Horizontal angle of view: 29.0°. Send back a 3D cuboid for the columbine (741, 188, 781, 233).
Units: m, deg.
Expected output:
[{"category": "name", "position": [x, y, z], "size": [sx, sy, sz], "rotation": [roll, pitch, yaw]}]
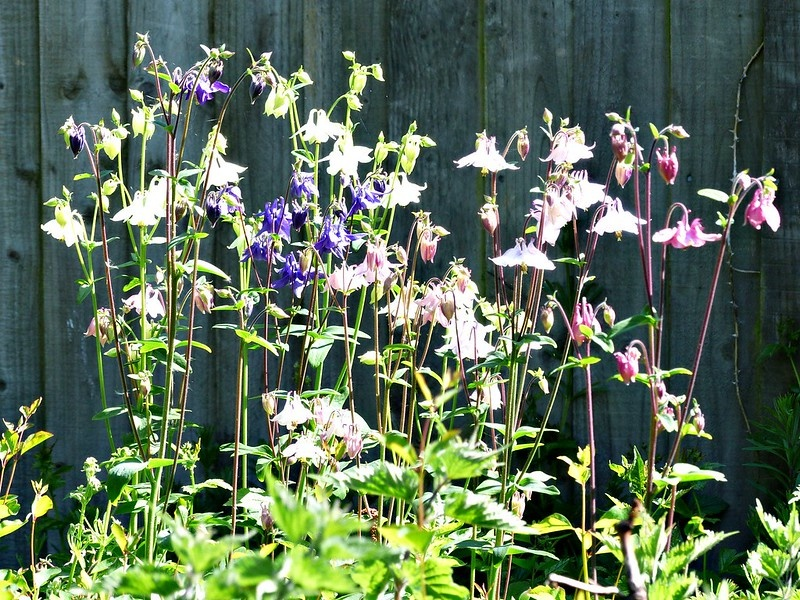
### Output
[{"category": "columbine", "position": [1.329, -0.329, 5.683], "size": [0.112, 0.147, 0.163], "rotation": [0, 4, 12]}]
